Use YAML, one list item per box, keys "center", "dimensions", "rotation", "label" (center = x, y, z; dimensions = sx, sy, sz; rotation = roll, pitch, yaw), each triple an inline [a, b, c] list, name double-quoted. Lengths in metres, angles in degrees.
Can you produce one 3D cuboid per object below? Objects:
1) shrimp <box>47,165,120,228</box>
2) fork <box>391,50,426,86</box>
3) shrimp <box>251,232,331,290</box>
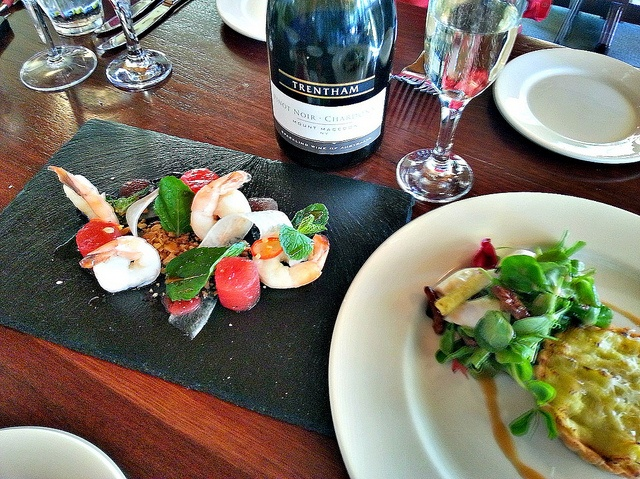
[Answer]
- center: [-0.326, -0.072, 0.635]
  dimensions: [0.048, 0.053, 0.145]
  rotation: [-47, 44, -12]
  label: "shrimp"
- center: [0.164, -0.309, 0.836]
  dimensions: [0.029, 0.013, 0.095]
  rotation: [35, 62, 27]
  label: "fork"
- center: [-0.035, 0.025, 0.604]
  dimensions: [0.103, 0.037, 0.083]
  rotation: [-17, 55, -8]
  label: "shrimp"
